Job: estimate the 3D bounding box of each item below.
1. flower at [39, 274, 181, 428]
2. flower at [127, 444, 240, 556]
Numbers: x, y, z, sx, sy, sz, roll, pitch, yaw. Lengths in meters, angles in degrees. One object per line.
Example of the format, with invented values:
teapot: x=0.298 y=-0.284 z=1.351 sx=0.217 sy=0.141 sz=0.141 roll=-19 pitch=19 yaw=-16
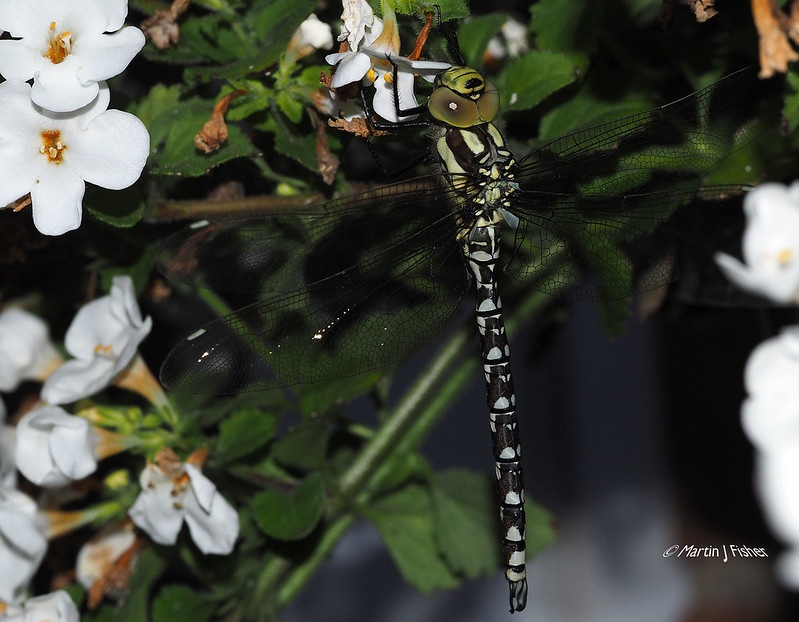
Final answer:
flower: x=-0.415 y=0.096 z=1.302 sx=0.210 sy=0.114 sz=0.242 roll=-46 pitch=34 yaw=-2
flower: x=-0.300 y=0.273 z=1.273 sx=0.068 sy=0.149 sz=0.145 roll=-6 pitch=62 yaw=-40
